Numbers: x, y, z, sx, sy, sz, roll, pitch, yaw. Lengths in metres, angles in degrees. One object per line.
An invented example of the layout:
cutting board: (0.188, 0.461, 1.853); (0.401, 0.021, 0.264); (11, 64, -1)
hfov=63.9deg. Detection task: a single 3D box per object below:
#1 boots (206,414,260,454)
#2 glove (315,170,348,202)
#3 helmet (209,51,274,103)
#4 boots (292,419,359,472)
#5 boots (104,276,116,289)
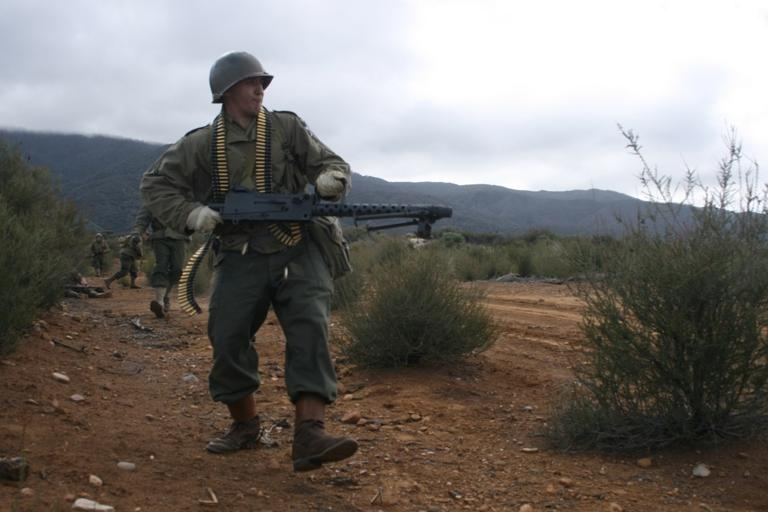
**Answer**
boots: (-1.330, 1.611, 5.589); (0.567, 0.356, 0.201); (7, 2, -29)
glove: (-0.446, -0.603, 5.330); (0.213, 0.287, 0.153); (13, -32, 13)
helmet: (-1.349, -1.647, 5.631); (0.562, 0.429, 0.447); (-4, 14, 25)
boots: (-0.508, 1.477, 5.002); (0.593, 0.421, 0.223); (-26, -34, 27)
boots: (-6.817, 0.671, 15.330); (0.243, 0.122, 0.345); (-11, 29, 0)
